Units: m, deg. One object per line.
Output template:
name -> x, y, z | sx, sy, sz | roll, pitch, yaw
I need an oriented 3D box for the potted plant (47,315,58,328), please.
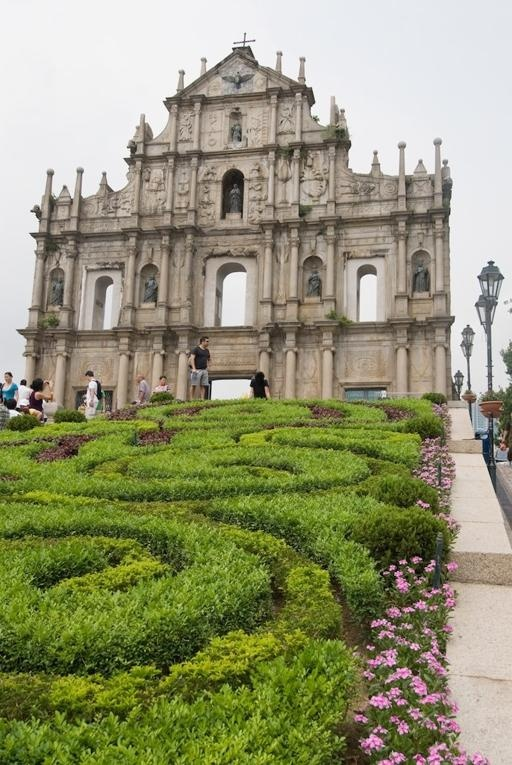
potted plant -> -8.586, -2.594, 29.834 | 0.521, 0.470, 0.485 | 0, -2, 40

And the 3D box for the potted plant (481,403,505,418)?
potted plant -> 5.814, 0.655, 17.435 | 0.444, 0.316, 0.444 | 1, -11, -6

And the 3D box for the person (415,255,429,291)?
person -> 6.385, -4.216, 27.268 | 0.623, 1.566, 0.406 | 0, -6, 14

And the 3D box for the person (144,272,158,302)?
person -> -4.448, -3.981, 29.960 | 0.452, 1.354, 0.850 | 7, -7, -44

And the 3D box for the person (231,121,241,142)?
person -> -0.829, -10.851, 30.631 | 0.261, 1.047, 0.556 | 7, -7, -42

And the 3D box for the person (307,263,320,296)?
person -> 2.334, -3.981, 28.251 | 0.494, 1.264, 0.556 | 3, -5, -14

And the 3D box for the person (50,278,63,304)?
person -> -8.660, -3.937, 30.733 | 0.371, 1.252, 0.738 | 7, -7, -42

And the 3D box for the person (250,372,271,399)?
person -> 0.130, 0.062, 17.556 | 0.369, 0.629, 0.799 | 3, -5, -8
